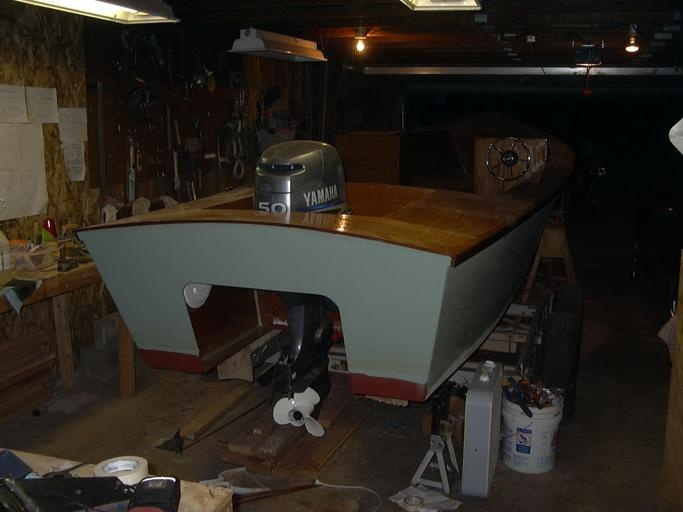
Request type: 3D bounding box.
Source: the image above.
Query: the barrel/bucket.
[{"bbox_3d":[1.086,1.065,3.323,0.400,0.469,0.415,-1,10,0],"label":"barrel/bucket"}]
